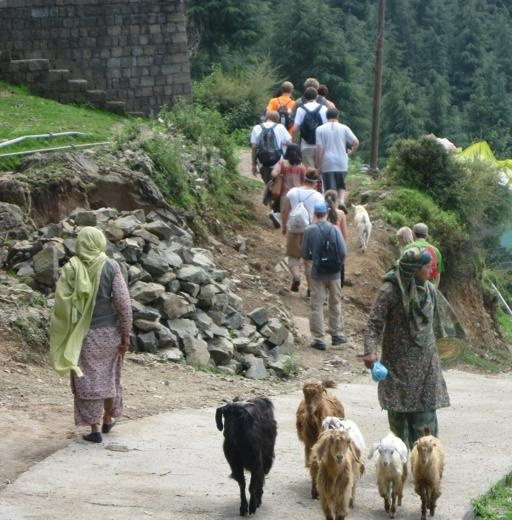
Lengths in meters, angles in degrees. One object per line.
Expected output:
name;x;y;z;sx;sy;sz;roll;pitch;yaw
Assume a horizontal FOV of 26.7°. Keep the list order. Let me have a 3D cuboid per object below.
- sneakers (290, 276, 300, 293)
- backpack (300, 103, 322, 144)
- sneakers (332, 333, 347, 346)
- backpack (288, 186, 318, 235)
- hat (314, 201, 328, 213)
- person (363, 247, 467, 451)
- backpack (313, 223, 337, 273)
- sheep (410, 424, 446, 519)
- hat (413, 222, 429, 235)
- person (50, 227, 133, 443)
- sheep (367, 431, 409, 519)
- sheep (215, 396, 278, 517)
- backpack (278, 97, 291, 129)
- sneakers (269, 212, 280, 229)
sneakers;0.622;0.375;17.076;0.093;0.277;0.116;2;44;-4
backpack;0.911;-2.326;18.513;0.474;0.685;0.299;7;7;31
sneakers;1.226;1.193;16.234;0.211;0.227;0.116;-6;12;-16
backpack;0.616;-0.755;16.517;0.364;0.635;0.616;4;28;-2
hat;0.921;-0.746;15.438;0.188;0.175;0.147;4;6;1
person;1.566;0.908;11.187;0.901;2.073;0.463;4;6;6
backpack;1.010;-0.121;15.375;0.358;0.606;0.179;4;6;3
sheep;1.658;2.084;10.433;0.312;0.768;0.373;3;6;-1
hat;2.118;-0.396;13.991;0.143;0.114;0.206;3;13;7
person;-1.725;0.771;11.291;0.829;2.208;0.430;2;6;-12
sheep;1.256;2.066;10.485;0.366;0.743;0.347;6;6;25
sheep;-0.066;1.871;10.372;0.378;1.050;0.649;8;7;40
backpack;0.548;-2.752;20.204;0.264;0.413;0.372;8;4;15
sneakers;0.352;-0.742;19.928;0.146;0.125;0.364;-1;37;-19
